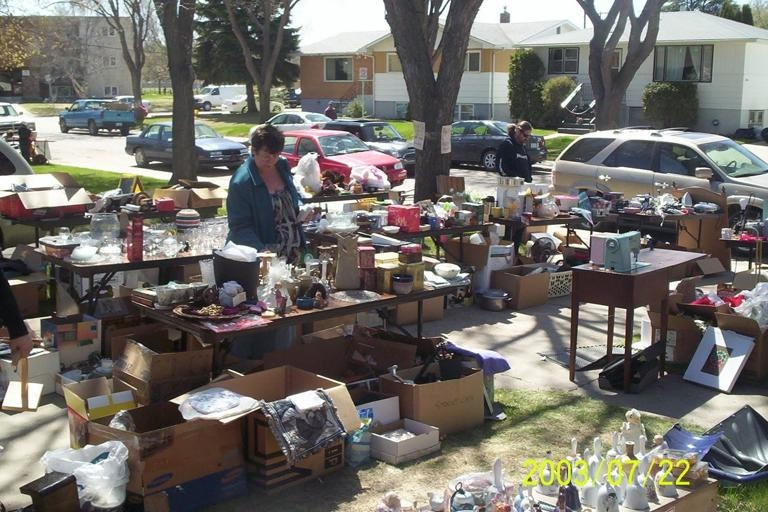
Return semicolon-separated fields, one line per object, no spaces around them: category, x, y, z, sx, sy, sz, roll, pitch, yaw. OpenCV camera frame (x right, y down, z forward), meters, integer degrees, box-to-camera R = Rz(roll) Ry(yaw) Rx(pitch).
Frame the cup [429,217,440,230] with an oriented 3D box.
cup;0.660;-0.438;8.526;0.154;0.168;0.160;-2;15;1

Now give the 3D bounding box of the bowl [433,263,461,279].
bowl;0.627;0.141;6.465;0.223;0.145;0.236;-3;16;1

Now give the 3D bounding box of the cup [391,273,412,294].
cup;0.165;0.248;6.018;0.180;0.131;0.163;-1;5;0

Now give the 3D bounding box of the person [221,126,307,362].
person;-1.064;-0.028;6.415;0.899;2.488;0.816;-15;21;-33

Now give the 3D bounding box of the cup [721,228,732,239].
cup;4.813;-0.314;9.040;0.123;0.120;0.122;-2;14;1

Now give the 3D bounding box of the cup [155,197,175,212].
cup;-2.929;-0.678;8.605;0.187;0.121;0.187;1;10;0

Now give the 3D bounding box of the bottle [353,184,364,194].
bottle;-0.468;-1.151;11.118;0.152;0.149;0.156;2;13;-1

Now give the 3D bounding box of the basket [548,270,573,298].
basket;2.502;0.381;9.262;0.389;0.309;0.393;-9;14;-12
